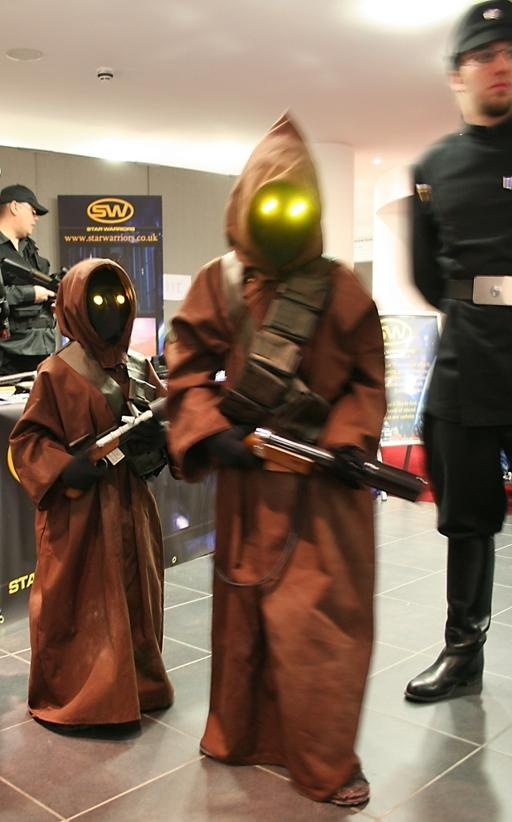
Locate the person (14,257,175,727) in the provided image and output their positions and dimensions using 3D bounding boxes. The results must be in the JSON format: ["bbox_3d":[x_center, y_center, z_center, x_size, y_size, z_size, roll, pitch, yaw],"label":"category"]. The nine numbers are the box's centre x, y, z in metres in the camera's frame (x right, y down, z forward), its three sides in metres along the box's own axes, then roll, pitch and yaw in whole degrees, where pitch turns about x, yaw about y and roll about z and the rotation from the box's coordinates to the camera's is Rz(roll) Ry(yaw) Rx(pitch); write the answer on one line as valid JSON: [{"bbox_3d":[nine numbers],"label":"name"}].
[{"bbox_3d":[-0.465,0.216,1.842,0.440,1.348,0.417,-1,1,-19],"label":"person"}]

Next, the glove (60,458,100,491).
[{"bbox_3d":[-0.466,0.174,1.709,0.075,0.099,0.040,-40,8,-5],"label":"glove"}]

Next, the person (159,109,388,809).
[{"bbox_3d":[0.016,0.127,1.272,0.405,1.349,0.288,1,2,38],"label":"person"}]
